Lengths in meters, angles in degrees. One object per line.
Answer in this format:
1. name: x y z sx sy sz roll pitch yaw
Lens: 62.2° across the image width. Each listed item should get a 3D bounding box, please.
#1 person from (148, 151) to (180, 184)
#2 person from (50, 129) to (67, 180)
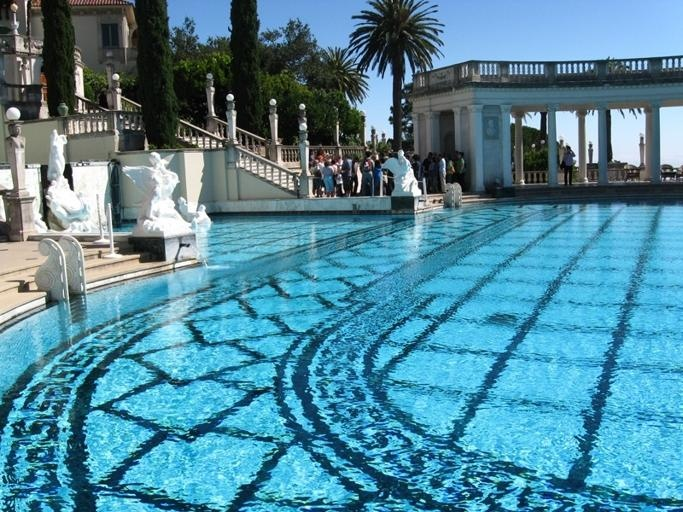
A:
1. person: -3.526 -1.760 11.148 0.427 0.592 1.255 -4 10 -17
2. person: -7.544 -2.670 14.870 0.484 1.321 1.640 -6 10 -27
